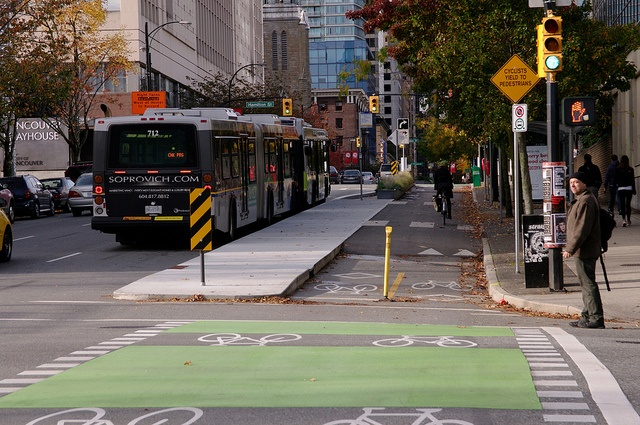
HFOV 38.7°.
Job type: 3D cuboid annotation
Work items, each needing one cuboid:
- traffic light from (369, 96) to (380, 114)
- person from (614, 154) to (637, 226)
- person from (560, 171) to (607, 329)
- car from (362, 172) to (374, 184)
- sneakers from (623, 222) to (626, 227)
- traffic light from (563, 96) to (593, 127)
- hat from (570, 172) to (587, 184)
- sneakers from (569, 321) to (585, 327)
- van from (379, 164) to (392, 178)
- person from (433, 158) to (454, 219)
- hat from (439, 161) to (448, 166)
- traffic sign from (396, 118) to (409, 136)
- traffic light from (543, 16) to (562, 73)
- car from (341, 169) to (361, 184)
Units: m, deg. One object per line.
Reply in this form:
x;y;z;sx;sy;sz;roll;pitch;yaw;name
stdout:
2.846;-5.682;47.767;0.422;0.869;1.186;-1;2;0;traffic light
9.639;-0.692;29.010;0.597;2.234;1.489;-1;2;23;person
4.683;0.661;16.278;0.686;2.756;0.557;-1;2;14;person
4.674;-3.336;87.954;0.798;0.748;2.162;1;6;9;car
9.479;0.378;28.461;0.130;0.133;0.270;-1;2;18;sneakers
5.285;-2.076;18.729;0.601;0.526;0.210;-1;0;9;traffic light
4.589;-0.616;16.288;0.238;0.131;0.201;2;4;35;hat
4.574;1.982;16.183;0.246;0.111;0.093;5;0;28;sneakers
5.729;-3.545;79.761;1.327;1.249;2.306;1;7;7;van
4.422;-0.789;32.837;0.612;2.043;1.485;-1;2;6;person
4.480;-1.773;33.035;0.222;0.165;0.247;1;-9;-10;hat
4.435;-4.628;48.093;0.715;0.706;0.719;1;-9;-4;traffic sign
4.705;-3.431;18.544;0.357;1.145;0.207;-1;2;26;traffic light
2.846;-3.209;81.735;1.091;0.809;2.524;0;-3;4;car
